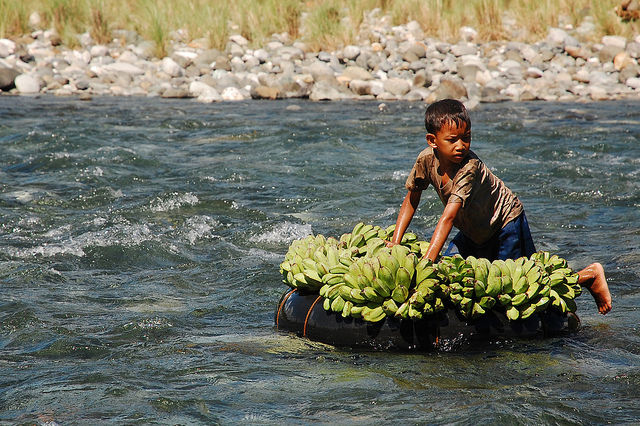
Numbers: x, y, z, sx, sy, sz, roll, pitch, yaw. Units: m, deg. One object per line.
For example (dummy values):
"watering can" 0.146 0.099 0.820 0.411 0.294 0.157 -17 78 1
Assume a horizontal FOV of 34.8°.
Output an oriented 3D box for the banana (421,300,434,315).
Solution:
"banana" 1.686 1.454 16.002 0.171 0.194 0.077 17 11 3

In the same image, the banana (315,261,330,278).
"banana" 0.044 0.879 16.386 0.158 0.252 0.085 -37 2 -1

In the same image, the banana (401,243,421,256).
"banana" 1.518 0.585 16.859 0.195 0.071 0.220 4 10 -44

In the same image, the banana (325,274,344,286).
"banana" 0.240 1.038 16.245 0.226 0.082 0.156 -10 4 -39

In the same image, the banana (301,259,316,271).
"banana" -0.179 0.814 16.526 0.077 0.158 0.303 -11 16 -43

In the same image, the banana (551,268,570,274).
"banana" 3.875 0.919 16.517 0.253 0.057 0.044 -7 -22 -10

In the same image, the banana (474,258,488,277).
"banana" 2.544 0.840 16.261 0.225 0.208 0.196 -6 29 -7

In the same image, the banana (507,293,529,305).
"banana" 3.128 1.339 16.160 0.310 0.147 0.109 -12 15 14

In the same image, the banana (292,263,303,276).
"banana" -0.380 0.899 16.592 0.131 0.157 0.099 -31 8 28

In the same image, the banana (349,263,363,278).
"banana" 0.584 0.902 16.231 0.170 0.205 0.087 -41 0 16

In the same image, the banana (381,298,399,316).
"banana" 1.102 1.440 16.029 0.169 0.195 0.264 3 -9 36

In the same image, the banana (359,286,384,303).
"banana" 0.819 1.255 16.092 0.348 0.175 0.127 23 9 -21

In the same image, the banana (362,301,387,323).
"banana" 0.872 1.573 16.128 0.421 0.185 0.131 -18 1 -2

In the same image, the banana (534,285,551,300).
"banana" 3.556 1.230 16.234 0.358 0.105 0.118 -44 -10 -26

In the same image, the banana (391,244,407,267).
"banana" 1.302 0.640 16.220 0.210 0.340 0.107 -41 -23 24

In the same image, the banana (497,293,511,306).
"banana" 2.916 1.340 16.136 0.212 0.147 0.123 24 7 -31

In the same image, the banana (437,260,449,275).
"banana" 1.921 0.828 16.095 0.206 0.243 0.185 2 4 42

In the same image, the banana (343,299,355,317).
"banana" 0.455 1.469 16.150 0.162 0.241 0.087 10 -7 14

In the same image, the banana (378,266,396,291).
"banana" 1.042 1.003 16.031 0.220 0.364 0.126 -24 16 40

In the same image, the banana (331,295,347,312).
"banana" 0.300 1.406 16.203 0.169 0.234 0.095 27 0 9

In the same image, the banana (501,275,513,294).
"banana" 2.957 1.104 16.149 0.173 0.276 0.101 3 13 9

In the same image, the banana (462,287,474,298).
"banana" 2.316 1.212 16.038 0.164 0.123 0.057 6 2 25

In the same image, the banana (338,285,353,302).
"banana" 0.409 1.240 16.148 0.207 0.236 0.070 8 15 28

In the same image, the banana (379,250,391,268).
"banana" 1.023 0.699 16.143 0.156 0.201 0.055 6 -20 31

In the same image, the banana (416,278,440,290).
"banana" 1.731 1.076 15.975 0.226 0.065 0.171 -14 31 -33

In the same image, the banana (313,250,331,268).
"banana" 0.035 0.736 16.543 0.282 0.169 0.100 41 16 8

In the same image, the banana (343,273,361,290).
"banana" 0.485 1.042 16.205 0.364 0.121 0.123 35 42 26

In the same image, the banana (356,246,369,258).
"banana" 0.709 0.607 16.696 0.161 0.162 0.186 4 12 13

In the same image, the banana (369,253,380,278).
"banana" 0.905 0.794 16.167 0.146 0.366 0.107 -32 -20 12

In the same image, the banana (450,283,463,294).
"banana" 2.135 1.162 15.984 0.156 0.141 0.057 28 1 -11

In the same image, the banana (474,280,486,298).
"banana" 2.517 1.173 16.060 0.183 0.249 0.091 -27 16 -28

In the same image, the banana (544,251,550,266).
"banana" 3.709 0.717 16.609 0.064 0.179 0.145 18 3 -12

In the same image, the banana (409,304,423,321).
"banana" 1.493 1.530 16.002 0.201 0.218 0.093 -9 15 21

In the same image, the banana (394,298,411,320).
"banana" 1.299 1.488 16.029 0.233 0.358 0.123 2 13 4

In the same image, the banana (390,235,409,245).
"banana" 1.343 0.449 16.928 0.214 0.067 0.180 -25 34 -26

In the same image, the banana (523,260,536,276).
"banana" 3.334 0.850 16.304 0.200 0.188 0.160 -1 12 -11

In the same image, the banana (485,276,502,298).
"banana" 2.730 1.143 16.108 0.264 0.318 0.106 -3 14 -21

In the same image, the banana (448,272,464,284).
"banana" 2.142 1.012 16.093 0.192 0.105 0.206 1 -1 -30

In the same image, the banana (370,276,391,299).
"banana" 0.986 1.148 16.073 0.363 0.195 0.128 37 26 -8

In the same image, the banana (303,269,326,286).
"banana" -0.093 1.007 16.437 0.314 0.183 0.096 22 47 17

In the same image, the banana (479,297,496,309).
"banana" 2.636 1.384 16.086 0.230 0.196 0.102 -4 14 -26

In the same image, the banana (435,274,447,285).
"banana" 1.907 1.008 16.050 0.172 0.143 0.055 -1 -3 -36

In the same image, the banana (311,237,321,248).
"banana" -0.076 0.466 16.996 0.134 0.115 0.190 -4 12 -24

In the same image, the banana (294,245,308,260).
"banana" -0.298 0.618 16.887 0.163 0.215 0.068 -37 -25 0

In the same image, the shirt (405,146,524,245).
"shirt" 2.351 -0.268 16.411 1.240 1.935 0.703 -31 35 31

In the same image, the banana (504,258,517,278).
"banana" 3.043 0.833 16.300 0.171 0.227 0.061 -30 -32 21

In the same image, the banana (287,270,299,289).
"banana" -0.420 1.043 16.702 0.191 0.323 0.119 -11 4 -19

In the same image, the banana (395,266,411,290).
"banana" 1.303 0.981 16.026 0.210 0.311 0.117 8 14 27
